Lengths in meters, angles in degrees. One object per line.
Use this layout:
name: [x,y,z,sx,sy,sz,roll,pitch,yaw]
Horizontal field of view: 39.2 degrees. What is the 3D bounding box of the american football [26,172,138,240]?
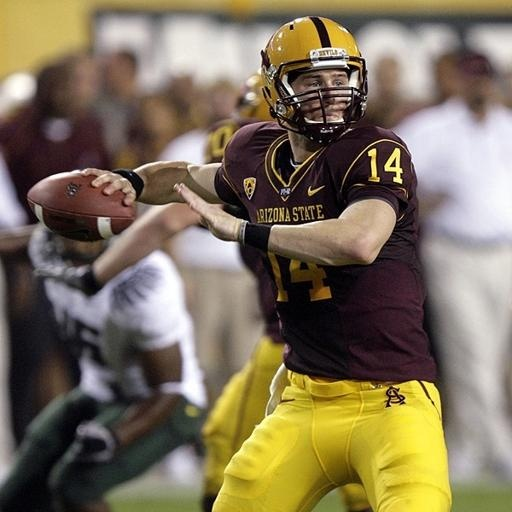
american football: [-0.460,-0.119,1.817,0.293,0.172,0.130,9,29,16]
